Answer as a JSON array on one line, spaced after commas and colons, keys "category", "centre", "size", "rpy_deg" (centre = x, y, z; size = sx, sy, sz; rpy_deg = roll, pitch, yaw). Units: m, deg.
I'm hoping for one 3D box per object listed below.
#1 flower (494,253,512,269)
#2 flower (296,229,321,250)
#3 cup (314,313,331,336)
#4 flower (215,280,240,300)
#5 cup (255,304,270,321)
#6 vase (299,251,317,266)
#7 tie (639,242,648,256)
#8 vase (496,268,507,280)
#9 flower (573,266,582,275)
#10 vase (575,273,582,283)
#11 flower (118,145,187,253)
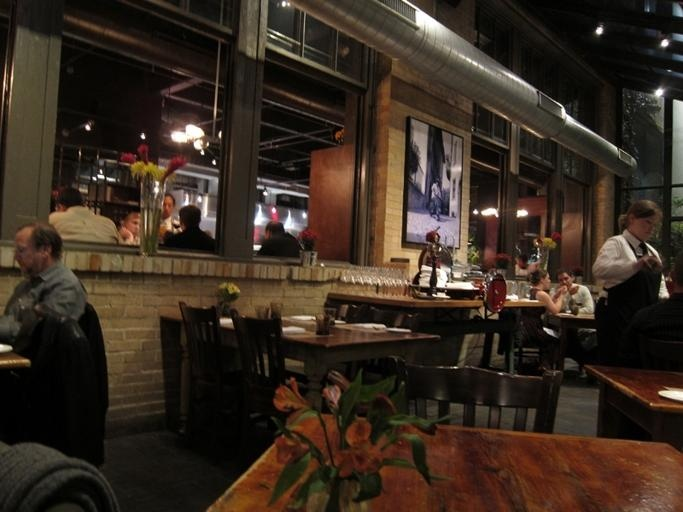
[{"category": "flower", "centre": [2.297, 0.078, 7.861], "size": [0.258, 0.285, 0.277], "rpy_deg": [1, 1, 1]}, {"category": "flower", "centre": [-0.325, -0.174, 5.632], "size": [0.193, 0.228, 0.207], "rpy_deg": [3, -6, -32]}, {"category": "cup", "centre": [-0.120, 0.471, 3.800], "size": [0.102, 0.134, 0.130], "rpy_deg": [1, -3, 3]}, {"category": "flower", "centre": [-0.917, 0.282, 4.562], "size": [0.151, 0.151, 0.159], "rpy_deg": [17, -12, -31]}, {"category": "cup", "centre": [-0.573, 0.411, 4.060], "size": [0.084, 0.115, 0.100], "rpy_deg": [0, -1, 6]}, {"category": "vase", "centre": [-0.325, 0.033, 5.580], "size": [0.117, 0.117, 0.152], "rpy_deg": [-5, -10, 32]}, {"category": "tie", "centre": [2.380, -0.050, 4.444], "size": [0.084, 0.133, 0.031], "rpy_deg": [7, -6, -11]}, {"category": "vase", "centre": [2.138, 0.243, 7.528], "size": [0.133, 0.146, 0.075], "rpy_deg": [8, -20, -19]}, {"category": "flower", "centre": [4.236, 0.277, 10.135], "size": [0.154, 0.162, 0.154], "rpy_deg": [-4, 9, -38]}, {"category": "vase", "centre": [4.243, 0.410, 10.081], "size": [0.150, 0.159, 0.079], "rpy_deg": [1, -4, -37]}, {"category": "flower", "centre": [-1.512, -0.448, 4.507], "size": [0.455, 0.890, 0.632], "rpy_deg": [1, 3, -22]}]
